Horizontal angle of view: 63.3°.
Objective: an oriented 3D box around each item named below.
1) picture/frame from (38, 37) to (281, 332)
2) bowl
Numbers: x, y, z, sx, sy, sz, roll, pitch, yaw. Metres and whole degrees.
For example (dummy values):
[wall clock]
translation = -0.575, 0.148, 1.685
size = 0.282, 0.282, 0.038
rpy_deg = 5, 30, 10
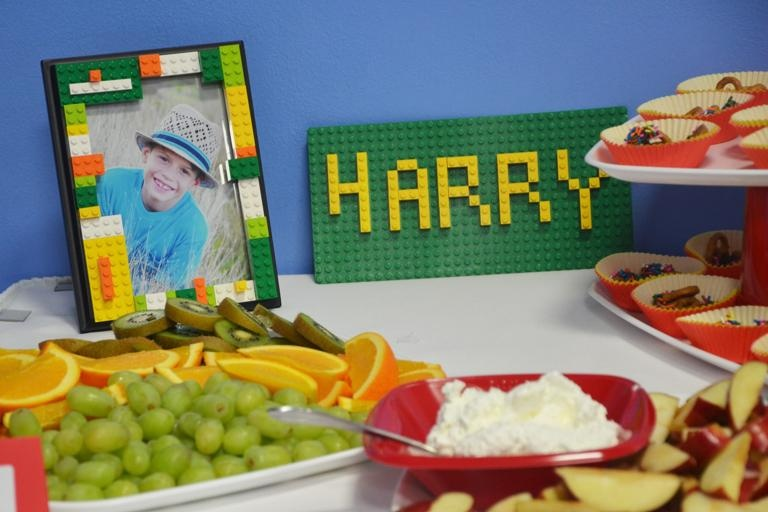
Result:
[picture/frame]
translation = -0.479, -0.141, 1.368
size = 0.050, 0.585, 0.473
rpy_deg = 11, 19, 44
[bowl]
translation = 0.155, 0.220, 0.741
size = 0.292, 0.078, 0.227
rpy_deg = -10, 14, -11
